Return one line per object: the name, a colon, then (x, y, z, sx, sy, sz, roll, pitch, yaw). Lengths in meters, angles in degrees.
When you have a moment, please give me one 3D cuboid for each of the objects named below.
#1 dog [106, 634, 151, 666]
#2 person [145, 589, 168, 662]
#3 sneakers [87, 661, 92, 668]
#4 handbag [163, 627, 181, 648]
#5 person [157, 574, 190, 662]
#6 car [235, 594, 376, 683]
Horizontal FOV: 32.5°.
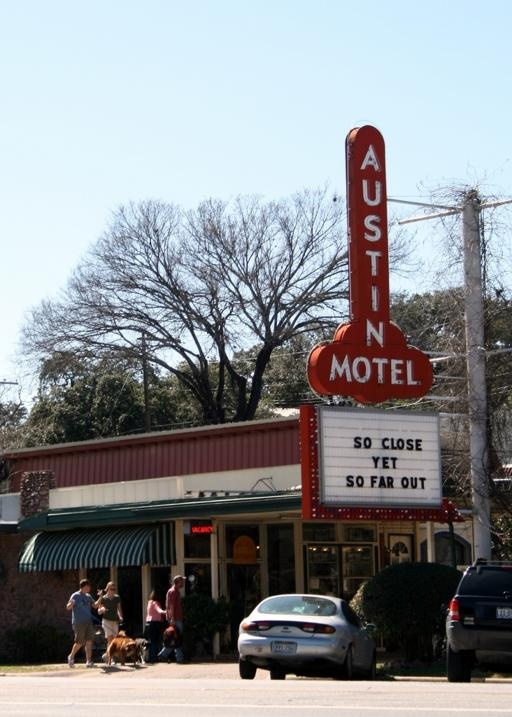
dog: (-2.451, 5.492, 16.541, 0.427, 0.726, 1.470, 9, -27, -31)
person: (-1.947, 5.314, 17.532, 0.442, 1.411, 0.419, -1, 5, -22)
sneakers: (-2.978, 5.475, 15.770, 0.099, 0.107, 0.292, 2, -12, -12)
handbag: (-1.589, 5.243, 16.591, 0.294, 0.400, 0.414, 1, -11, -6)
person: (-1.604, 5.092, 17.137, 0.462, 1.678, 1.512, 1, -11, -5)
car: (0.623, 3.769, 11.800, 1.475, 1.130, 1.773, -5, -12, 22)
